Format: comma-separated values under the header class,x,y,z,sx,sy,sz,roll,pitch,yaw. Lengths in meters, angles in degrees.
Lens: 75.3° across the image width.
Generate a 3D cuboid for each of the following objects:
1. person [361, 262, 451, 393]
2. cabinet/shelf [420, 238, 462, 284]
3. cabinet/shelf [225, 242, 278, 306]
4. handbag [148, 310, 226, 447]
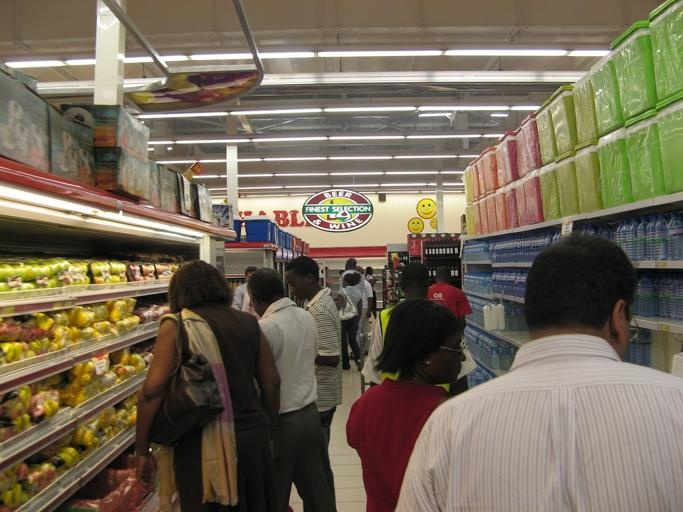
class,x,y,z,sx,sy,sz,roll,pitch,yaw
person,0.434,0.683,3.002,0.555,1.483,0.426,-1,31,8
cabinet/shelf,1.987,0.252,9.372,0.808,0.601,1.028,-2,38,12
cabinet/shelf,-1.715,0.236,8.056,0.900,1.556,1.080,0,-5,0
handbag,-0.779,0.644,2.236,0.447,0.578,0.175,-40,-30,28
